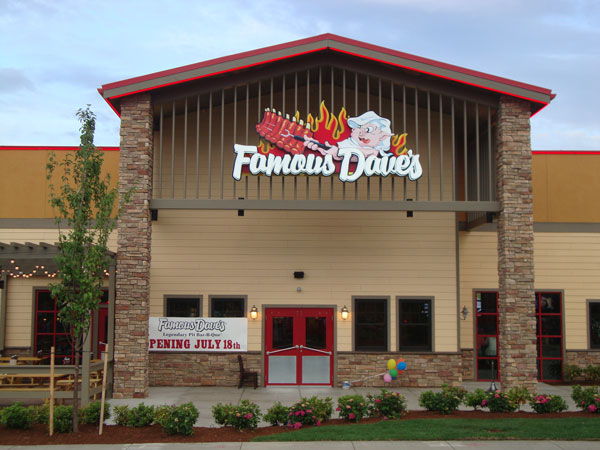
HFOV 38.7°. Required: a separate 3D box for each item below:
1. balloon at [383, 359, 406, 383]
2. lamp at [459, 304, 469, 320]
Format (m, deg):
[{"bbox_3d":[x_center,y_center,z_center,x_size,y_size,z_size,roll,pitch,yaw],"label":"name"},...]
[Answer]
[{"bbox_3d":[3.132,4.935,28.802,0.524,0.395,0.990,9,-26,-13],"label":"balloon"},{"bbox_3d":[5.772,3.095,30.012,0.307,0.513,0.121,4,-9,-24],"label":"lamp"}]
